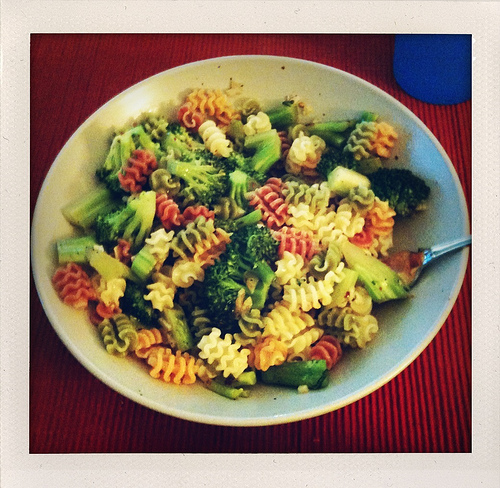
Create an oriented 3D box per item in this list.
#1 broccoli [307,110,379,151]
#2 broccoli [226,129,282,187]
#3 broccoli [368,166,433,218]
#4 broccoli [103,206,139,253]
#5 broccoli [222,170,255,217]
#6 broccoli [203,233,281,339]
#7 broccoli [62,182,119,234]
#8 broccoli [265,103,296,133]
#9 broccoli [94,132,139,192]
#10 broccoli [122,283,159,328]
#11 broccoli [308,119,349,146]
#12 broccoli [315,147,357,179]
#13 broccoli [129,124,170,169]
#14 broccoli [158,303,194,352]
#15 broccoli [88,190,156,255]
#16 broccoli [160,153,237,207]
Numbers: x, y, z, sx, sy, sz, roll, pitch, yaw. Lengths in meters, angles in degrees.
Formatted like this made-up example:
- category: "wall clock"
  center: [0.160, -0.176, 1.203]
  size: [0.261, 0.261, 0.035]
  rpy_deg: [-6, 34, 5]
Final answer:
- category: "broccoli"
  center: [0.352, -0.440, 2.305]
  size: [0.176, 0.058, 0.175]
  rpy_deg: [6, 64, 31]
- category: "broccoli"
  center: [0.001, -0.355, 2.361]
  size: [0.207, 0.251, 0.108]
  rpy_deg: [22, 79, -40]
- category: "broccoli"
  center: [0.572, -0.195, 2.309]
  size: [0.199, 0.118, 0.166]
  rpy_deg: [32, 74, 7]
- category: "broccoli"
  center: [-0.484, -0.044, 2.173]
  size: [0.109, 0.063, 0.170]
  rpy_deg: [-1, 87, -1]
- category: "broccoli"
  center: [-0.042, -0.219, 2.322]
  size: [0.099, 0.197, 0.093]
  rpy_deg: [1, 93, 15]
- category: "broccoli"
  center: [-0.033, 0.115, 2.223]
  size: [0.276, 0.146, 0.370]
  rpy_deg: [42, 67, -30]
- category: "broccoli"
  center: [-0.597, -0.136, 2.288]
  size: [0.134, 0.056, 0.212]
  rpy_deg: [39, 82, 3]
- category: "broccoli"
  center: [0.123, -0.490, 2.360]
  size: [0.119, 0.053, 0.079]
  rpy_deg: [-21, 108, 13]
- category: "broccoli"
  center: [-0.500, -0.307, 2.254]
  size: [0.130, 0.052, 0.221]
  rpy_deg: [23, 88, 9]
- category: "broccoli"
  center: [-0.415, 0.235, 2.264]
  size: [0.095, 0.058, 0.173]
  rpy_deg: [-31, 87, -12]
- category: "broccoli"
  center: [0.311, -0.438, 2.292]
  size: [0.115, 0.030, 0.106]
  rpy_deg: [6, 86, 10]
- category: "broccoli"
  center: [0.326, -0.316, 2.296]
  size: [0.111, 0.125, 0.132]
  rpy_deg: [-20, 113, 11]
- category: "broccoli"
  center: [-0.391, -0.367, 2.326]
  size: [0.165, 0.045, 0.121]
  rpy_deg: [40, 82, -5]
- category: "broccoli"
  center: [-0.273, 0.309, 2.217]
  size: [0.086, 0.043, 0.197]
  rpy_deg: [-26, 82, 9]
- category: "broccoli"
  center: [-0.460, -0.055, 2.223]
  size: [0.272, 0.063, 0.187]
  rpy_deg: [-20, 75, -7]
- category: "broccoli"
  center: [-0.188, -0.264, 2.247]
  size: [0.227, 0.109, 0.197]
  rpy_deg: [27, 75, -3]
